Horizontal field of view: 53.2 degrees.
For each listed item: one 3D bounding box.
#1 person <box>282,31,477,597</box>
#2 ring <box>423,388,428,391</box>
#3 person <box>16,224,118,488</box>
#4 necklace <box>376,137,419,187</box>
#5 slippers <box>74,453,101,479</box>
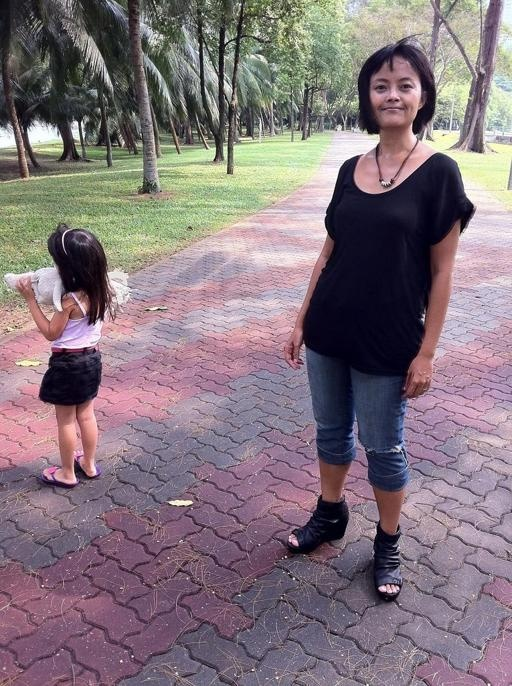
[{"bbox_3d":[0.459,0.004,1.942,0.665,2.056,0.401,13,25,40],"label":"person"},{"bbox_3d":[0.576,0.156,1.728,0.014,0.013,0.013,-1,36,0],"label":"ring"},{"bbox_3d":[-0.963,0.123,2.641,0.504,1.405,0.286,-8,20,-12],"label":"person"},{"bbox_3d":[0.470,-0.590,1.697,0.145,0.148,0.259,1,19,12],"label":"necklace"},{"bbox_3d":[-0.985,0.742,2.970,0.078,0.055,0.211,-22,41,-30],"label":"slippers"}]
